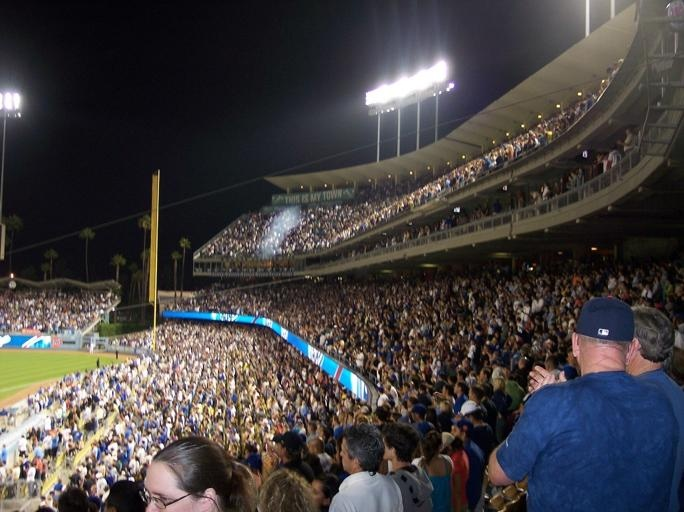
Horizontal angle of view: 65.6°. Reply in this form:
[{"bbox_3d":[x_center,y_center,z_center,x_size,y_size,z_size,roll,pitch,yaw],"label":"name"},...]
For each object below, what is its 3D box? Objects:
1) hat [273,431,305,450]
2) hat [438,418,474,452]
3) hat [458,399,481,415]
[{"bbox_3d":[-0.726,2.439,7.004,0.349,0.204,0.255,6,4,20],"label":"hat"},{"bbox_3d":[1.552,2.398,7.311,0.377,0.515,0.356,16,-16,36],"label":"hat"},{"bbox_3d":[1.932,2.316,8.107,0.206,0.194,0.339,-3,-7,-25],"label":"hat"}]
